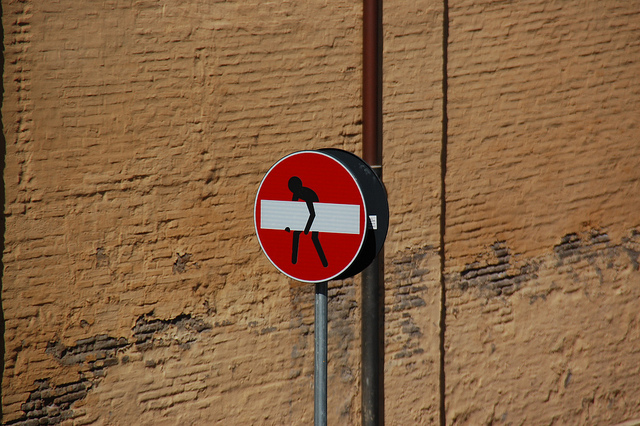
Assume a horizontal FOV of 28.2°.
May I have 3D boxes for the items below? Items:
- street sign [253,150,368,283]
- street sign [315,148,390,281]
[{"bbox_3d":[-0.054,-0.010,9.683,0.998,0.147,1.185,0,92,13],"label":"street sign"},{"bbox_3d":[0.390,-0.032,9.737,0.199,0.846,0.868,-3,108,-40],"label":"street sign"}]
